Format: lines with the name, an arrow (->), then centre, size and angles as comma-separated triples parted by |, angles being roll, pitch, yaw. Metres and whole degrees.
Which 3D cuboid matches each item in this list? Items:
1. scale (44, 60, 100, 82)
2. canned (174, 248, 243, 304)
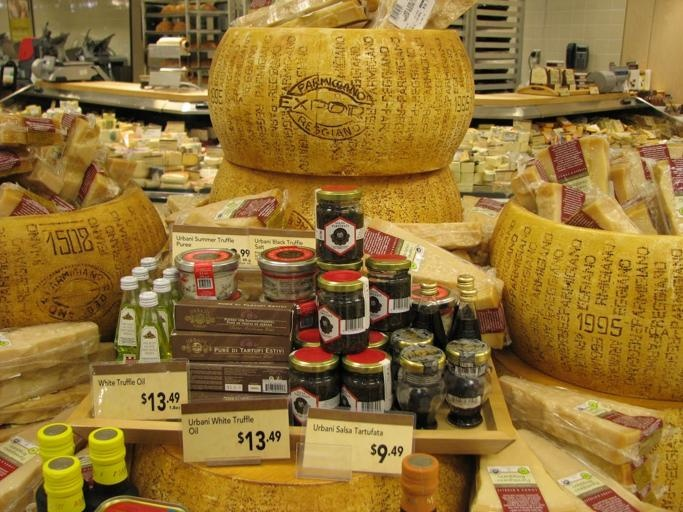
scale -> -3.129, -2.153, 5.709 | 0.467, 0.141, 0.329 | -9, 23, -28
canned -> -0.327, 0.042, 1.178 | 0.156, 0.070, 0.132 | 0, 12, 0
